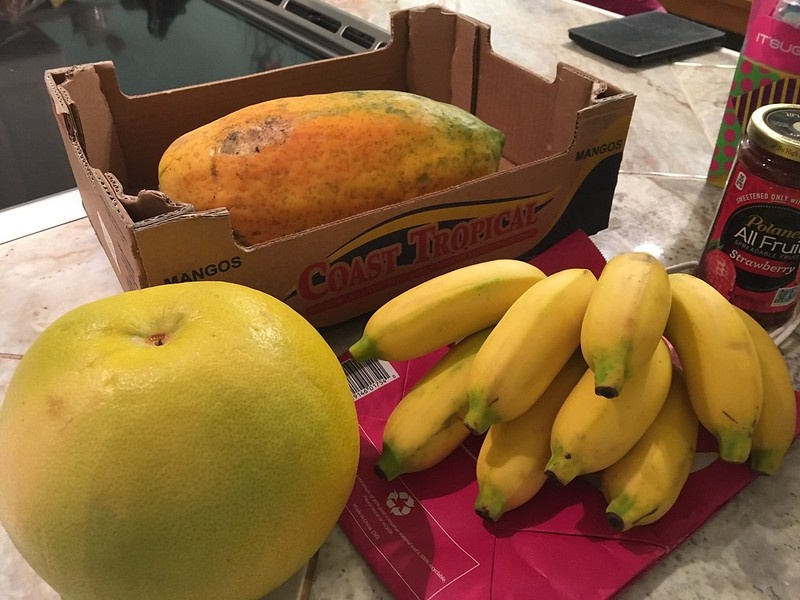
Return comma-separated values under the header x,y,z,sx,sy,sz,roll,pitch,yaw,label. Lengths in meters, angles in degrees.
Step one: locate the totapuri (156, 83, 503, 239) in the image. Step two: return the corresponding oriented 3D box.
x,y,z,sx,sy,sz,roll,pitch,yaw,label
-0.088,-0.175,0.888,0.394,0.188,0.191,-19,23,-10,totapuri
